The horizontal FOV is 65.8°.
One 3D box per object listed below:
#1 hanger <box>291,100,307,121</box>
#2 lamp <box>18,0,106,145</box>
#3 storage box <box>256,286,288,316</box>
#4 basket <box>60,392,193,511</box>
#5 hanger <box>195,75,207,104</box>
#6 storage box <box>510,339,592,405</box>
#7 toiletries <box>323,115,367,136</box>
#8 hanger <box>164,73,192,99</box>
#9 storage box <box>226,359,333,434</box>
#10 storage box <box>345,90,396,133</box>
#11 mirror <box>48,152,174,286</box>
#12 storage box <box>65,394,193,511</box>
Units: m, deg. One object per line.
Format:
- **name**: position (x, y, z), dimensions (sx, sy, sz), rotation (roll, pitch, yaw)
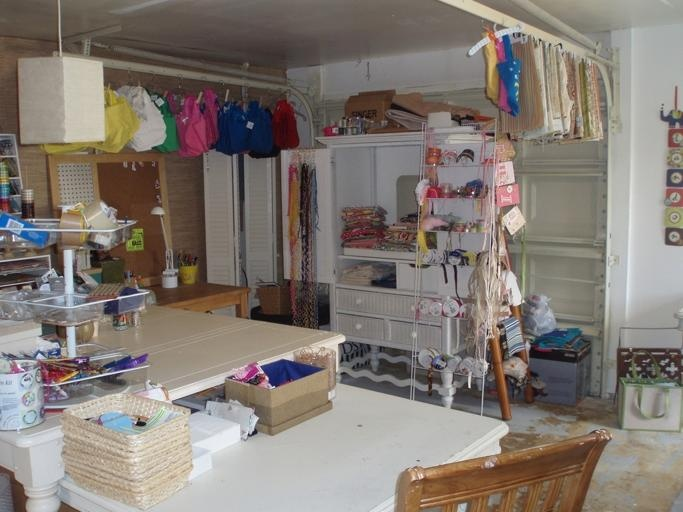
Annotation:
- **hanger**: position (-0.501, -1.721, 6.251), dimensions (0.186, 0.244, 0.157), rotation (-2, 9, -10)
- **lamp**: position (-1.163, -0.646, 2.195), dimensions (0.328, 0.350, 0.184), rotation (-5, 10, -26)
- **storage box**: position (-0.759, 0.498, 5.948), dimensions (0.379, 0.285, 0.316), rotation (-2, -4, 25)
- **basket**: position (-0.721, 0.599, 1.761), dimensions (0.388, 0.240, 0.278), rotation (4, 6, 32)
- **hanger**: position (-1.392, -1.621, 5.223), dimensions (0.084, 0.281, 0.630), rotation (-3, 9, -15)
- **storage box**: position (1.921, 1.066, 4.868), dimensions (0.693, 0.676, 0.495), rotation (0, 3, 20)
- **toiletries**: position (0.050, -1.209, 5.086), dimensions (0.216, 0.135, 0.349), rotation (-8, 8, -44)
- **hanger**: position (-1.669, -1.741, 5.484), dimensions (0.138, 0.198, 0.301), rotation (1, 9, 11)
- **storage box**: position (-0.288, 0.500, 2.158), dimensions (0.258, 0.154, 0.342), rotation (5, 9, 41)
- **storage box**: position (0.283, -1.394, 5.038), dimensions (0.504, 0.360, 0.318), rotation (2, 9, 12)
- **mirror**: position (-2.136, -0.488, 5.088), dimensions (0.251, 1.027, 1.244), rotation (6, 11, 32)
- **storage box**: position (-0.705, 0.593, 1.744), dimensions (0.388, 0.242, 0.277), rotation (3, 6, 33)
